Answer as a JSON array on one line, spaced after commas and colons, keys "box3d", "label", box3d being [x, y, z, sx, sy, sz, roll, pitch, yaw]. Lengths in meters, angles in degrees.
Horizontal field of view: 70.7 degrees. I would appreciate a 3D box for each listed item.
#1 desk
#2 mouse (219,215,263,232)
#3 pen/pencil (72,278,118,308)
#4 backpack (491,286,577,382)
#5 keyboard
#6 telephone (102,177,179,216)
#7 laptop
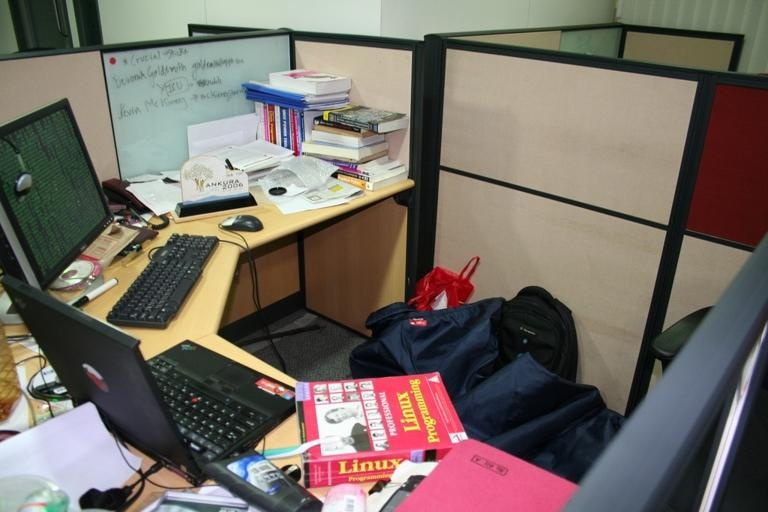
[{"box3d": [-0.480, 0.231, 1.827, 0.885, 0.551, 0.896, 30, 47, 34], "label": "desk"}, {"box3d": [-0.493, -0.112, 1.908, 0.117, 0.039, 0.066, 6, 28, 4], "label": "mouse"}, {"box3d": [-0.842, 0.107, 1.629, 0.029, 0.023, 0.175, 28, 34, 18], "label": "pen/pencil"}, {"box3d": [0.603, 0.262, 2.137, 0.299, 0.418, 0.210, 26, 61, 21], "label": "backpack"}, {"box3d": [-0.656, 0.059, 1.701, 0.206, 0.059, 0.428, 2, 37, 9], "label": "keyboard"}, {"box3d": [-0.887, -0.232, 2.059, 0.198, 0.045, 0.200, 30, 40, 26], "label": "telephone"}, {"box3d": [-0.487, 0.298, 1.372, 0.585, 0.449, 0.503, 21, 35, 24], "label": "laptop"}]
